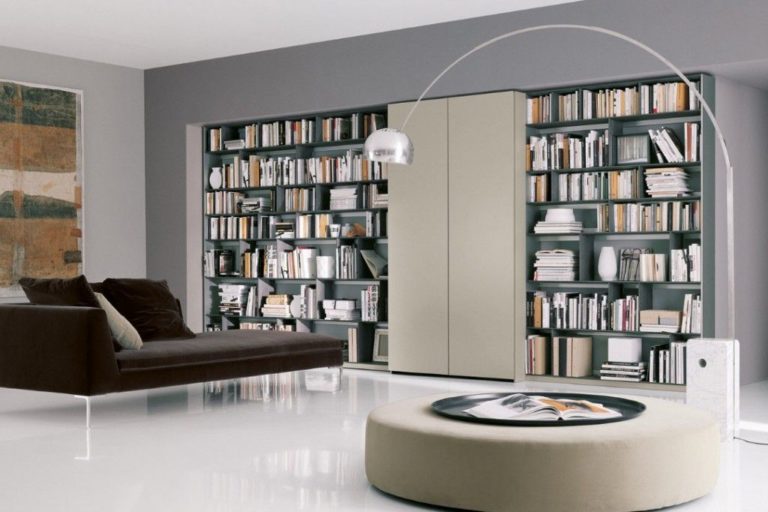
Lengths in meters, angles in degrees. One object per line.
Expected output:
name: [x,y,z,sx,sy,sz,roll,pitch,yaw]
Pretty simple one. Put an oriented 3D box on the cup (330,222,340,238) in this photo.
cup: [-0.593,-0.322,7.796,0.160,0.170,0.149,1,-7,0]
